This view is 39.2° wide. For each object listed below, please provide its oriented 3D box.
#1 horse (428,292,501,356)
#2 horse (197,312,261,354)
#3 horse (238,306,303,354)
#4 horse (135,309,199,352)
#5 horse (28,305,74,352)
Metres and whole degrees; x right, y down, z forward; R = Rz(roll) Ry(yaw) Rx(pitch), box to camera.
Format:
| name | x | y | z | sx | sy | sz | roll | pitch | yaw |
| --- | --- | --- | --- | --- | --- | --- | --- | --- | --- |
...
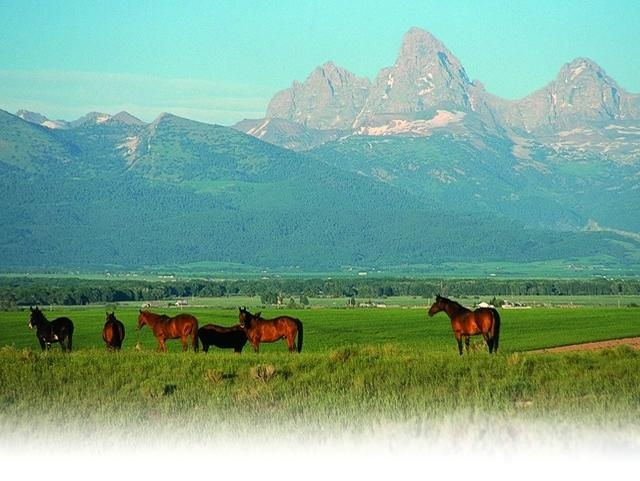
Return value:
| name | x | y | z | sx | sy | sz | roll | pitch | yaw |
| --- | --- | --- | --- | --- | --- | --- | --- | --- | --- |
| horse | 8.271 | 4.969 | 51.536 | 4.185 | 3.516 | 1.398 | 1 | -1 | 28 |
| horse | -6.103 | 6.015 | 55.498 | 2.982 | 2.783 | 2.873 | -2 | 4 | -4 |
| horse | -3.064 | 5.255 | 53.164 | 3.584 | 2.684 | 1.220 | -2 | 0 | -7 |
| horse | -9.121 | 5.403 | 53.457 | 2.316 | 2.373 | 3.737 | -2 | 0 | -35 |
| horse | -16.729 | 5.439 | 55.145 | 2.513 | 3.384 | 2.415 | -3 | 2 | -33 |
